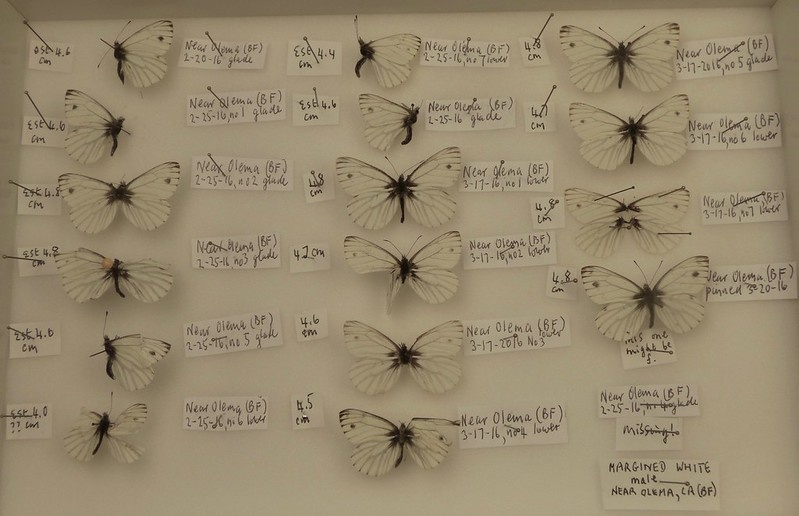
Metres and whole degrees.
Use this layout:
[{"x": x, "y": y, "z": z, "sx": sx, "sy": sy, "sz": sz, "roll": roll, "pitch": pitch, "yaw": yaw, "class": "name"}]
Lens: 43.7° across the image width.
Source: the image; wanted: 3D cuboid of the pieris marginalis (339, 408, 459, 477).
[{"x": -0.018, "y": 0.559, "z": 3.124, "sx": 0.338, "sy": 0.216, "sz": 0.100, "roll": -3, "pitch": -7, "yaw": 1, "class": "pieris marginalis"}]

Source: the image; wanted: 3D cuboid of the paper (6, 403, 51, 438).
[{"x": -1.167, "y": 0.514, "z": 3.127, "sx": 0.089, "sy": 0.087, "sz": 0.009, "roll": -1, "pitch": -2, "yaw": -2, "class": "paper"}]

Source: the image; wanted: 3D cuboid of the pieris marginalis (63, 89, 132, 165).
[{"x": -0.970, "y": -0.418, "z": 3.256, "sx": 0.245, "sy": 0.211, "sz": 0.140, "roll": 12, "pitch": 2, "yaw": 1, "class": "pieris marginalis"}]

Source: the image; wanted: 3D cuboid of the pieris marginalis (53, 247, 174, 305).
[{"x": -0.893, "y": 0.054, "z": 3.108, "sx": 0.358, "sy": 0.136, "sz": 0.158, "roll": 5, "pitch": -13, "yaw": -17, "class": "pieris marginalis"}]

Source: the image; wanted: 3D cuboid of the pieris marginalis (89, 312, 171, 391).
[{"x": -0.847, "y": 0.296, "z": 3.122, "sx": 0.249, "sy": 0.178, "sz": 0.142, "roll": 15, "pitch": 33, "yaw": 16, "class": "pieris marginalis"}]

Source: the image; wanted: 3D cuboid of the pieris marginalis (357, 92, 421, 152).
[{"x": -0.041, "y": -0.431, "z": 3.131, "sx": 0.202, "sy": 0.172, "sz": 0.127, "roll": 0, "pitch": 12, "yaw": -21, "class": "pieris marginalis"}]

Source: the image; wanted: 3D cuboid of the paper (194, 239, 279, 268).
[{"x": -0.515, "y": -0.019, "z": 3.147, "sx": 0.276, "sy": 0.098, "sz": 0.048, "roll": 3, "pitch": 30, "yaw": -2, "class": "paper"}]

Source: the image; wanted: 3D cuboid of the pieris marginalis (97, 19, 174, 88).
[{"x": -0.813, "y": -0.645, "z": 3.152, "sx": 0.208, "sy": 0.213, "sz": 0.116, "roll": 2, "pitch": 7, "yaw": 7, "class": "pieris marginalis"}]

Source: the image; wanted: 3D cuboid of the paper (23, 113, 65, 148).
[{"x": -1.137, "y": -0.404, "z": 3.169, "sx": 0.094, "sy": 0.078, "sz": 0.005, "roll": 1, "pitch": -8, "yaw": -5, "class": "paper"}]

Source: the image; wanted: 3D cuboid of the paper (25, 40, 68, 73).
[{"x": -1.134, "y": -0.645, "z": 3.182, "sx": 0.091, "sy": 0.076, "sz": 0.005, "roll": 0, "pitch": -5, "yaw": -3, "class": "paper"}]

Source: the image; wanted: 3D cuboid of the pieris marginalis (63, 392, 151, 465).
[{"x": -0.924, "y": 0.524, "z": 3.114, "sx": 0.237, "sy": 0.217, "sz": 0.082, "roll": 8, "pitch": 12, "yaw": -29, "class": "pieris marginalis"}]
